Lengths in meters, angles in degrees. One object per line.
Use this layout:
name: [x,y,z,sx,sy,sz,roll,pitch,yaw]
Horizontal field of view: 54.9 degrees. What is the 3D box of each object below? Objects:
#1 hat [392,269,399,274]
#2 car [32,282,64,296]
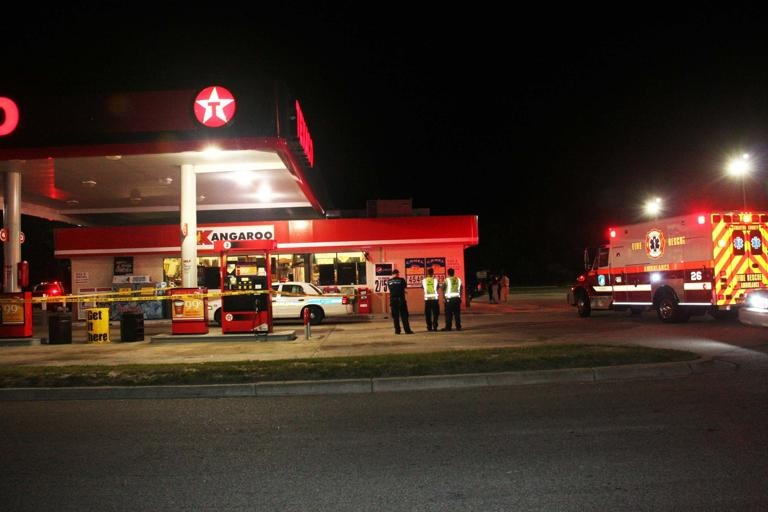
hat: [0.414,0.578,25.955,0.342,0.140,0.463,1,-1,2]
car: [-17.875,1.808,39.295,0.834,0.656,1.494,1,-6,-19]
